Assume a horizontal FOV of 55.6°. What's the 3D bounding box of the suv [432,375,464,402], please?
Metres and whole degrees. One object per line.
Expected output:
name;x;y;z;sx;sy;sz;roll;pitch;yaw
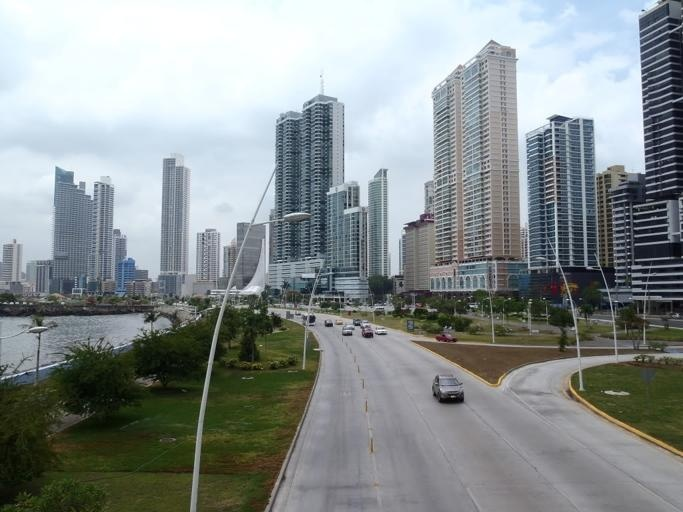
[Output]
suv;8.330;10.657;50.795;1.716;1.850;1.898;1;-6;-12
